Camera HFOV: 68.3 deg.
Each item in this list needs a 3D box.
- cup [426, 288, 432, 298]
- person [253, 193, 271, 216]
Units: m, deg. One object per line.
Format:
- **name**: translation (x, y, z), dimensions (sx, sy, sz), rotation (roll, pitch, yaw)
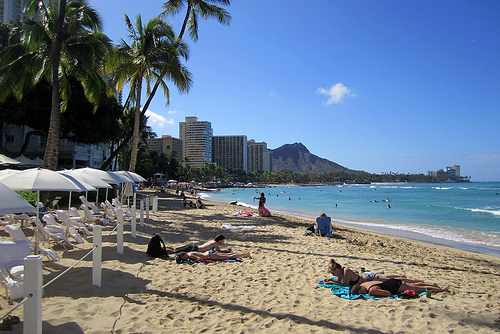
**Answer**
- **cup**: translation (5.726, 3.999, 11.786), dimensions (0.151, 0.221, 0.276), rotation (8, 8, 25)
- **person**: translation (0.867, 2.642, 25.334), dimensions (1.129, 1.719, 0.896), rotation (10, 11, 35)
